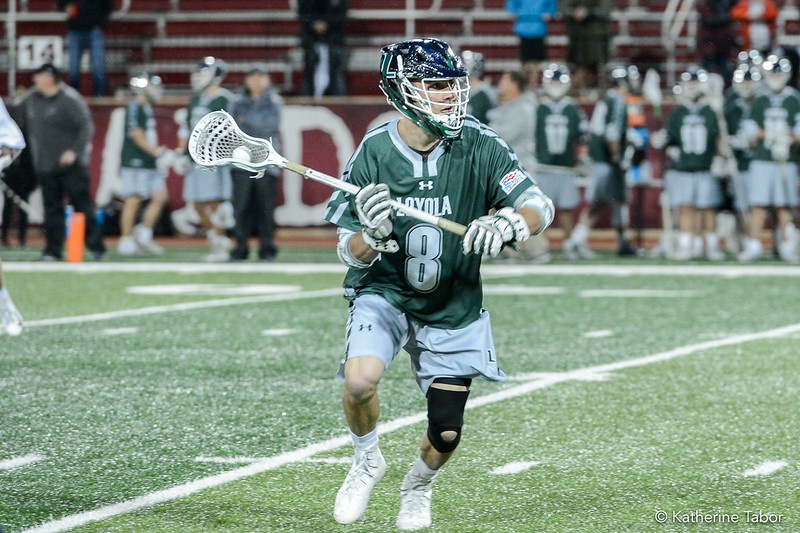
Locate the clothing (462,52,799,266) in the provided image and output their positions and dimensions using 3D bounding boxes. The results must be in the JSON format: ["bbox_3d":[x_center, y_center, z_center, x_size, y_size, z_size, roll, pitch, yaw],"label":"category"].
[{"bbox_3d":[2.305,-0.962,10.870,2.938,2.110,0.887,0,-2,11],"label":"clothing"}]

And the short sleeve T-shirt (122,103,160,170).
[{"bbox_3d":[-2.746,-1.366,11.939,0.408,0.714,0.284,-8,18,-27],"label":"short sleeve T-shirt"}]

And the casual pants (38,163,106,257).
[{"bbox_3d":[-3.255,-0.537,11.011,0.358,0.931,0.687,14,21,39],"label":"casual pants"}]

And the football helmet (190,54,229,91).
[{"bbox_3d":[-1.958,-1.894,11.326,0.319,0.350,0.406,-3,-7,41],"label":"football helmet"}]

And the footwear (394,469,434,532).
[{"bbox_3d":[0.060,1.246,6.056,0.146,0.254,0.392,13,19,-10],"label":"footwear"}]

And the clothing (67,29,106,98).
[{"bbox_3d":[-3.868,-2.504,13.862,0.456,0.902,0.260,-11,27,-25],"label":"clothing"}]

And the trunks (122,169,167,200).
[{"bbox_3d":[-2.729,-0.873,12.033,0.604,0.274,0.371,0,7,-17],"label":"trunks"}]

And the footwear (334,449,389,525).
[{"bbox_3d":[-0.210,1.213,6.123,0.137,0.377,0.219,25,-29,19],"label":"footwear"}]

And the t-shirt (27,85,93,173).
[{"bbox_3d":[-3.322,-1.324,10.961,0.634,0.799,0.478,-3,16,-11],"label":"t-shirt"}]

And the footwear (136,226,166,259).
[{"bbox_3d":[-2.644,-0.280,12.026,0.264,0.291,0.390,-13,20,-41],"label":"footwear"}]

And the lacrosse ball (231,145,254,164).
[{"bbox_3d":[-0.861,-0.615,6.239,0.129,0.108,0.071,3,-19,-12],"label":"lacrosse ball"}]

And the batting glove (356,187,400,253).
[{"bbox_3d":[-0.115,-0.241,5.816,0.234,0.300,0.153,3,32,12],"label":"batting glove"}]

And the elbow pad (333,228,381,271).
[{"bbox_3d":[-0.248,-0.087,6.064,0.211,0.127,0.237,7,-7,-4],"label":"elbow pad"}]

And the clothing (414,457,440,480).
[{"bbox_3d":[0.128,1.078,6.071,0.126,0.084,0.121,4,3,-31],"label":"clothing"}]

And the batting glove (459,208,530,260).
[{"bbox_3d":[0.475,-0.166,5.833,0.323,0.122,0.227,-4,23,-9],"label":"batting glove"}]

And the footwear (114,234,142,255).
[{"bbox_3d":[-2.882,-0.222,11.938,0.219,0.199,0.249,-3,16,-12],"label":"footwear"}]

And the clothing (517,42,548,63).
[{"bbox_3d":[1.630,-2.633,14.040,0.472,0.390,0.246,2,11,9],"label":"clothing"}]
